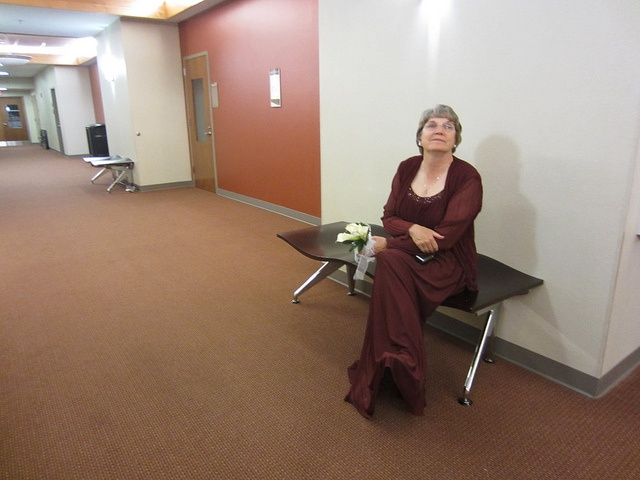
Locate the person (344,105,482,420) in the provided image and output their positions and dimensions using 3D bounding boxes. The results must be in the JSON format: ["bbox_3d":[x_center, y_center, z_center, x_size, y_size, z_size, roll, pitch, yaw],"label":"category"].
[{"bbox_3d":[0.583,0.100,2.906,0.723,1.705,0.992,4,20,19],"label":"person"}]

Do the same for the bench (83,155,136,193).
[{"bbox_3d":[-3.975,-1.293,9.050,0.680,0.618,1.623,-13,21,-28],"label":"bench"}]

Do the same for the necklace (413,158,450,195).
[{"bbox_3d":[0.721,-0.382,3.080,0.159,0.277,0.068,28,5,37],"label":"necklace"}]
